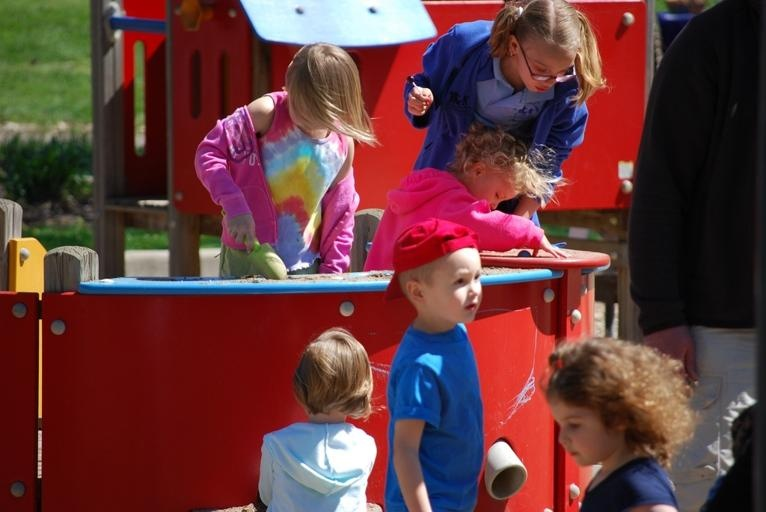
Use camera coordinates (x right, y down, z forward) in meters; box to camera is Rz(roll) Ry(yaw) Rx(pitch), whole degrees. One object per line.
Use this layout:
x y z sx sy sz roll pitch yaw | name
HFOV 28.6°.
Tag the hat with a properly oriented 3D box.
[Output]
0.230 -0.022 7.080 0.360 0.197 0.241 -35 7 25 | hat
